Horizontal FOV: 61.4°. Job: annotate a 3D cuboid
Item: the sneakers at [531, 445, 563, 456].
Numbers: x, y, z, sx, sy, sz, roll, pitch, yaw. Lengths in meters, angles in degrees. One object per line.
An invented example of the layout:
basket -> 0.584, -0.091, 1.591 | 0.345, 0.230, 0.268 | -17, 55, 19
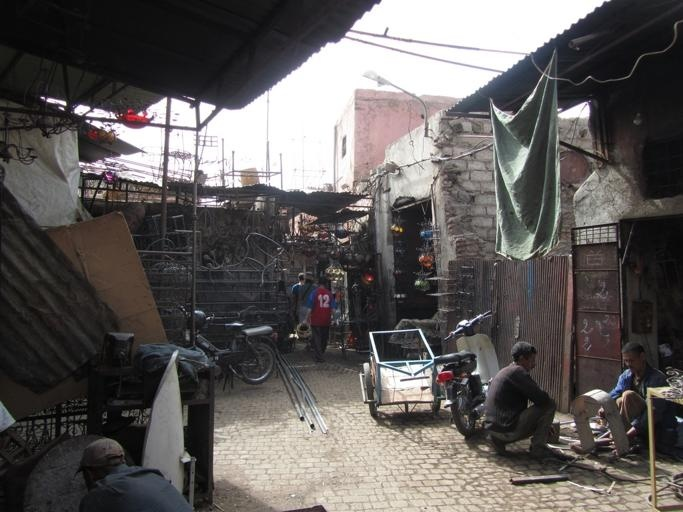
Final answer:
sneakers -> 2.560, 2.456, 7.259 | 0.363, 0.162, 0.085 | 0, 3, 5

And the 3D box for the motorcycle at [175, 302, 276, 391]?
motorcycle -> -2.251, 1.720, 11.196 | 2.342, 1.626, 1.159 | -8, -12, 14

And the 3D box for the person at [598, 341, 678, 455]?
person -> 3.676, 1.834, 7.255 | 0.876, 1.330, 0.718 | 17, -24, -12

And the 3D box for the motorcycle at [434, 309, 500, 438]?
motorcycle -> 1.980, 1.760, 8.834 | 0.734, 1.537, 2.595 | -16, -7, 27

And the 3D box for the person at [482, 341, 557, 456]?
person -> 2.267, 1.830, 7.390 | 0.856, 1.372, 0.390 | 1, 4, 17

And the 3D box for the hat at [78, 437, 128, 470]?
hat -> -2.001, 1.659, 4.784 | 0.325, 0.257, 0.418 | 10, -25, -44

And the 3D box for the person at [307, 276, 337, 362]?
person -> -0.448, 1.516, 13.771 | 0.574, 2.033, 1.406 | 0, 3, -1

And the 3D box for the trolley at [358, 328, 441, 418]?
trolley -> 0.958, 1.937, 9.267 | 1.473, 1.154, 2.003 | -1, 8, -8
